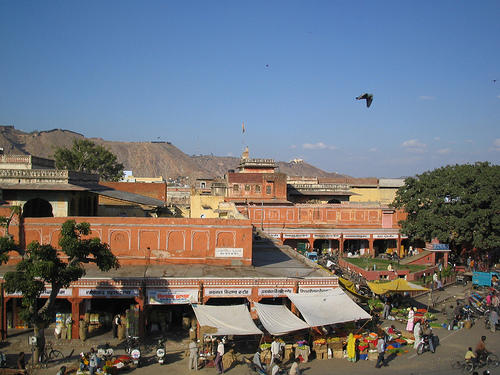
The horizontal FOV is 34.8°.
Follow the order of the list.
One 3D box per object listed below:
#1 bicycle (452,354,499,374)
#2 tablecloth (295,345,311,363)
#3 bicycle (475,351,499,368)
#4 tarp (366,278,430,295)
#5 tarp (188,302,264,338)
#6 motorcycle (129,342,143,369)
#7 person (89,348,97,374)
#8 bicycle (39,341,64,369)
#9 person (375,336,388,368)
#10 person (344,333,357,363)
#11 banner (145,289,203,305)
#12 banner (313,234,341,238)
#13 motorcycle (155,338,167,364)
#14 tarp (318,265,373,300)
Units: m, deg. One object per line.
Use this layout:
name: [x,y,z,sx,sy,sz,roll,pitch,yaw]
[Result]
bicycle: [14.941,11.713,53.019,2.679,1.449,1.268,-3,-2,-14]
tablecloth: [3.687,11.505,54.233,1.215,1.238,0.896,0,-10,4]
bicycle: [16.089,11.552,52.750,0.787,1.008,0.554,0,-4,-40]
tarp: [11.542,7.807,60.977,4.686,0.984,3.649,-9,-6,31]
tarp: [-1.621,9.226,54.773,4.807,2.036,2.433,-4,-9,-8]
motorcycle: [-7.482,11.361,53.078,0.861,1.604,1.292,-2,-3,-9]
person: [-10.192,11.466,52.261,0.477,1.527,1.114,-2,-3,-11]
bicycle: [-13.108,11.541,53.009,0.827,1.041,1.689,-11,-8,28]
person: [8.752,11.231,53.175,0.894,1.829,0.502,-1,-3,-26]
person: [6.925,11.049,54.036,0.722,1.927,0.621,-3,-3,4]
banner: [-5.329,7.792,56.117,3.510,1.073,0.156,-2,-3,-3]
banner: [8.117,5.190,83.226,2.784,0.476,0.263,-3,-3,7]
motorcycle: [-5.838,11.212,53.306,0.713,1.441,0.859,-2,-3,-5]
tarp: [7.675,7.719,62.941,6.936,0.977,1.053,21,-15,45]
